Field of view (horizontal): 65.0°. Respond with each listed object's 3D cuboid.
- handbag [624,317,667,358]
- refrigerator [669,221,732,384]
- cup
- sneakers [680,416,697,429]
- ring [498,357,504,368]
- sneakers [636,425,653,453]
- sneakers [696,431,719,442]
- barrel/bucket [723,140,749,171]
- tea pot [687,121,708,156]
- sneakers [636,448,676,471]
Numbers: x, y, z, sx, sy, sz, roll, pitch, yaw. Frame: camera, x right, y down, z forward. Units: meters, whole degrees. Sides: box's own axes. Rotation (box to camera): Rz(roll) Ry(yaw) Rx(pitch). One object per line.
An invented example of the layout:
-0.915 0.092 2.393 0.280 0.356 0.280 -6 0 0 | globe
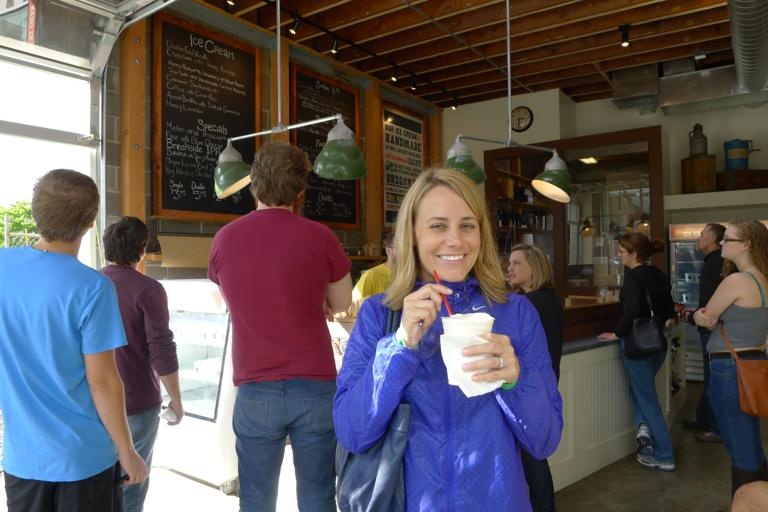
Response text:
2.092 0.678 4.780 0.337 0.351 0.206 -1 -14 45 | handbag
3.652 0.396 7.039 0.579 1.390 0.458 -3 -6 27 | refrigerator
0.366 0.367 2.536 0.246 0.219 0.291 0 -15 -3 | cup
2.884 1.570 5.680 0.075 0.091 0.211 4 -5 -9 | sneakers
0.474 0.431 2.431 0.028 0.039 0.034 -3 -16 3 | ring
2.095 1.467 4.871 0.104 0.250 0.112 -6 1 40 | sneakers
2.861 1.589 5.321 0.180 0.074 0.069 2 -5 17 | sneakers
4.127 -1.172 7.038 0.248 0.379 0.339 2 3 28 | barrel/bucket
3.826 -1.412 7.325 0.212 0.429 0.399 2 3 27 | tea pot
2.156 1.635 4.807 0.304 0.155 0.126 12 5 31 | sneakers
